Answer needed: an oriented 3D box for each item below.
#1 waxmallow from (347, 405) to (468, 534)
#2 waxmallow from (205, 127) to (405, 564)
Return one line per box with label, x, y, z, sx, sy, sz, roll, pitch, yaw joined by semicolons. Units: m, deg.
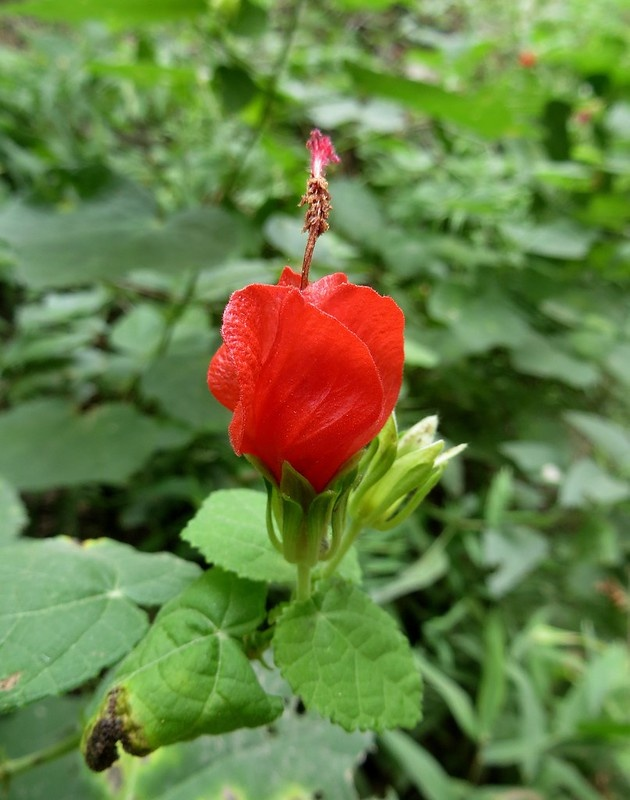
waxmallow;0.053;0.046;0.508;0.074;0.079;0.080;3;102;-3
waxmallow;-0.016;-0.020;0.490;0.113;0.238;0.260;-4;58;-7
